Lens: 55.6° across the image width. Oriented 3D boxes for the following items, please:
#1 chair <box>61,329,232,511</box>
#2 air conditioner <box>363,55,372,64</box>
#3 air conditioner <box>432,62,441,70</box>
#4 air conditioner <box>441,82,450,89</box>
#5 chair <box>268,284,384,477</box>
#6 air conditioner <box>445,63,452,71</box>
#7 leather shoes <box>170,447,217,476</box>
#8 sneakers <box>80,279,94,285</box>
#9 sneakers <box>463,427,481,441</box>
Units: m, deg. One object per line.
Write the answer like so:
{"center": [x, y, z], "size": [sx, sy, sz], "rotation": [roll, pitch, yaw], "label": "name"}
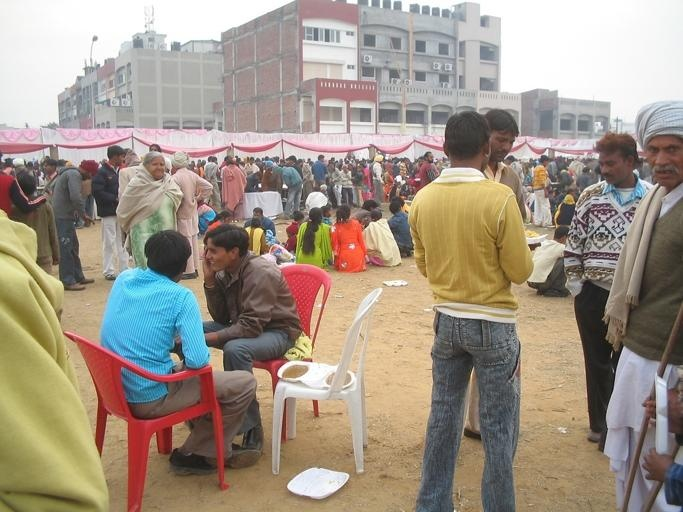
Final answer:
{"center": [-1.333, 0.894, 4.571], "size": [1.061, 1.511, 0.978], "rotation": [-4, 6, -35], "label": "chair"}
{"center": [2.119, -15.852, 52.325], "size": [0.356, 0.671, 1.247], "rotation": [5, 10, 29], "label": "air conditioner"}
{"center": [8.549, -16.991, 58.185], "size": [0.893, 0.781, 0.360], "rotation": [-8, 12, -44], "label": "air conditioner"}
{"center": [9.390, -15.596, 59.082], "size": [0.776, 0.547, 1.452], "rotation": [2, 9, 14], "label": "air conditioner"}
{"center": [-0.095, 0.796, 4.861], "size": [0.755, 1.161, 1.322], "rotation": [1, 9, 3], "label": "chair"}
{"center": [9.654, -17.147, 58.898], "size": [0.631, 0.661, 0.391], "rotation": [-2, 11, -13], "label": "air conditioner"}
{"center": [-1.014, 1.408, 4.447], "size": [0.278, 0.154, 0.152], "rotation": [1, -1, -2], "label": "leather shoes"}
{"center": [-3.913, 0.395, 9.953], "size": [0.193, 0.085, 0.064], "rotation": [-5, 10, -34], "label": "sneakers"}
{"center": [0.952, 1.300, 4.730], "size": [0.048, 0.065, 0.145], "rotation": [-1, -1, -28], "label": "sneakers"}
